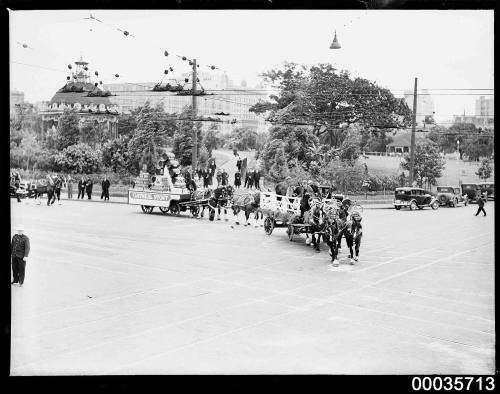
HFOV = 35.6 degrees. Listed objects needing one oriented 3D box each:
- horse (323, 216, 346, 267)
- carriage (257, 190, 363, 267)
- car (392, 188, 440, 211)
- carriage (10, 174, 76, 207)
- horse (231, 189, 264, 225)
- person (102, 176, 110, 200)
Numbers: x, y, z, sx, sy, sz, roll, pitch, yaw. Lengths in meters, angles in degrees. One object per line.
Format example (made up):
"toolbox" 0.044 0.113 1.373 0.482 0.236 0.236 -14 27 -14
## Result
"horse" 3.123 1.535 28.903 0.639 1.777 2.533 -2 10 10
"carriage" 2.305 0.855 32.372 2.302 2.411 7.623 -7 6 -14
"car" 12.027 0.173 55.295 4.914 1.605 1.646 1 3 -39
"carriage" -14.221 -0.332 52.783 2.671 2.414 3.985 4 11 26
"horse" -0.188 0.579 37.689 0.726 1.643 2.256 2 3 -43
"person" -10.369 -0.542 55.905 0.536 1.529 2.847 2 3 -11
